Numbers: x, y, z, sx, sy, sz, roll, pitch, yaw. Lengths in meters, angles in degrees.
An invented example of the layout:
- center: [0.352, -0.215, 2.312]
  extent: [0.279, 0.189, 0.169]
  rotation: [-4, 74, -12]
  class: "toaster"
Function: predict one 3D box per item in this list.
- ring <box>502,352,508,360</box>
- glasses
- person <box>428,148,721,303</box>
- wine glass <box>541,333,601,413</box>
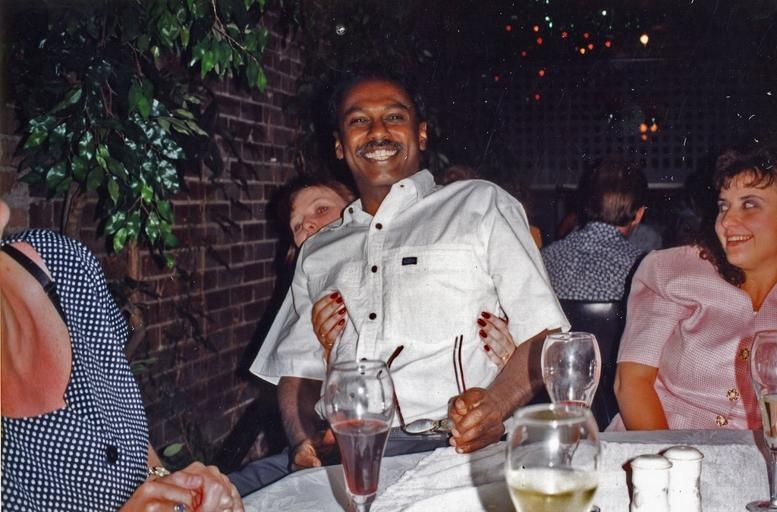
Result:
- center: [0.374, 0.323, 2.137]
  extent: [0.016, 0.016, 0.007]
  rotation: [-7, -26, 38]
  class: "ring"
- center: [0.130, 0.383, 2.000]
  extent: [0.227, 0.235, 0.072]
  rotation: [-7, 12, 3]
  class: "glasses"
- center: [0.855, -0.150, 2.904]
  extent: [0.391, 0.388, 1.160]
  rotation: [-26, 25, -14]
  class: "person"
- center: [0.426, 0.282, 1.622]
  extent: [0.187, 0.179, 0.109]
  rotation: [-4, 4, -45]
  class: "wine glass"
